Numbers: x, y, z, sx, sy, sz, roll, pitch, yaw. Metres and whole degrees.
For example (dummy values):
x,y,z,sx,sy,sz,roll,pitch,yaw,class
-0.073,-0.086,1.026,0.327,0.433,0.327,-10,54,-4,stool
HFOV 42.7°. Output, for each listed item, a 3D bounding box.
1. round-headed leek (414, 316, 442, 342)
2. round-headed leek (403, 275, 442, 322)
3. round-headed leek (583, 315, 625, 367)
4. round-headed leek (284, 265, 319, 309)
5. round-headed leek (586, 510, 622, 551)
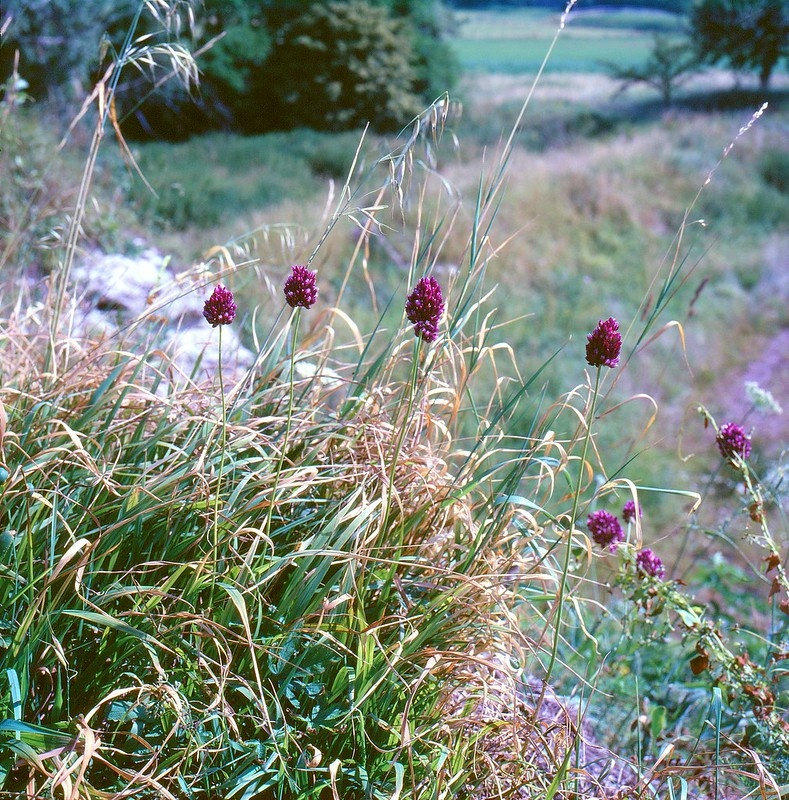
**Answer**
x,y,z,sx,sy,sz,roll,pitch,yaw,class
0.079,-0.170,2.437,0.048,0.059,0.052,-2,37,1,round-headed leek
0.071,-0.241,2.479,0.079,0.110,0.094,5,38,-10,round-headed leek
0.507,-0.132,2.451,0.084,0.086,0.145,30,59,-28,round-headed leek
-0.227,-0.269,2.507,0.092,0.101,0.144,2,67,-5,round-headed leek
0.607,0.367,2.938,0.085,0.083,0.108,-44,54,-11,round-headed leek
